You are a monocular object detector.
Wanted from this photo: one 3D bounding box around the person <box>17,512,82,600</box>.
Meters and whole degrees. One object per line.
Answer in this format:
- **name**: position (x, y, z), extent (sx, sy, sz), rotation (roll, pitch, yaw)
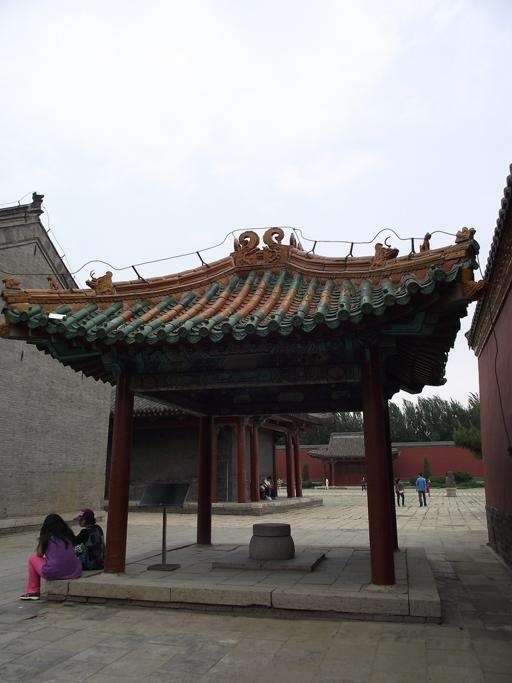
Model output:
- **person**: position (-2.309, 2.466, 6.213), extent (0.521, 0.891, 0.398), rotation (-10, -16, 28)
